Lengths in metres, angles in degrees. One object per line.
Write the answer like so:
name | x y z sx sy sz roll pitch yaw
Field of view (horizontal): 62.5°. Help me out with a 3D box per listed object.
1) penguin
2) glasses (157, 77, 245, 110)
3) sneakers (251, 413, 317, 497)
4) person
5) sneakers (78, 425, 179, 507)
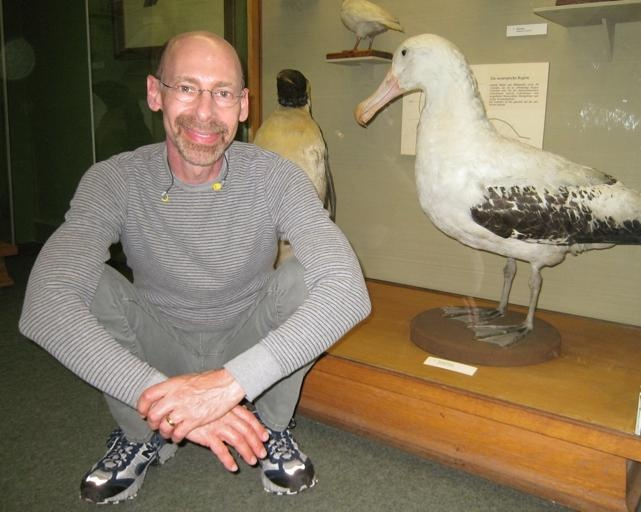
penguin | -0.103 -0.337 1.994 0.298 0.637 0.326 -4 -5 43
glasses | -0.305 -0.407 1.345 0.193 0.060 0.048 0 22 -1
sneakers | -0.109 0.549 1.478 0.108 0.100 0.220 -3 7 -25
person | -0.264 0.060 1.333 0.771 1.140 0.591 3 22 7
sneakers | -0.519 0.542 1.456 0.108 0.119 0.251 25 31 14
